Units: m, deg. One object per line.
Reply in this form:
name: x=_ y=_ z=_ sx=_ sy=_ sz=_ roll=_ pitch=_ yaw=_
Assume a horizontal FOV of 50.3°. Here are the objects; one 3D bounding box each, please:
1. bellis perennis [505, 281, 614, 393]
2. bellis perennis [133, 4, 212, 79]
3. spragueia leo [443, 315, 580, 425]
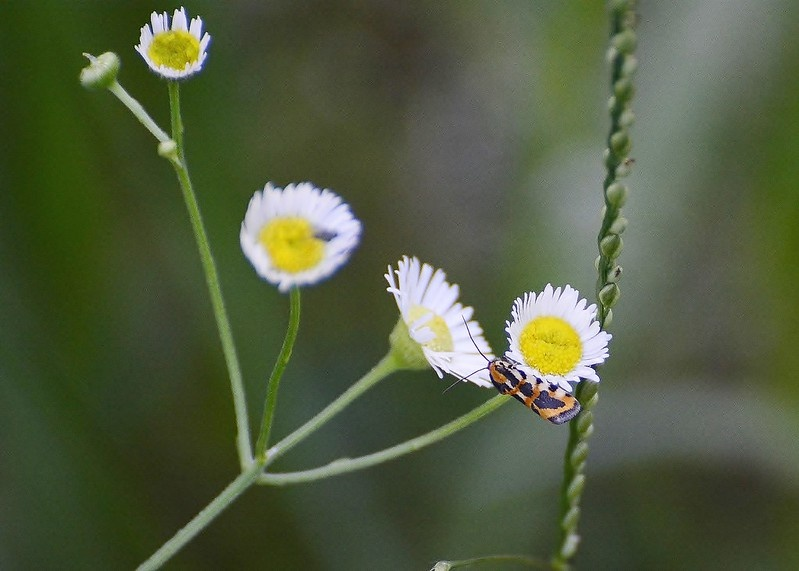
bellis perennis: x=0.173 y=0.060 z=0.969 sx=0.125 sy=0.162 sz=0.066 roll=-3 pitch=-54 yaw=-10
bellis perennis: x=-0.257 y=-0.282 z=0.983 sx=0.081 sy=0.086 sz=0.071 roll=-7 pitch=-63 yaw=13
spragueia leo: x=0.136 y=0.109 z=1.032 sx=0.145 sy=0.039 sz=0.083 roll=44 pitch=-81 yaw=15
